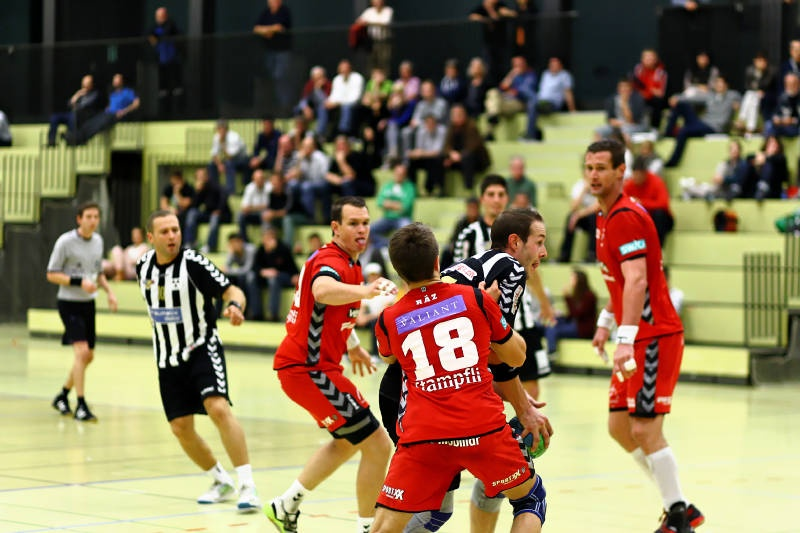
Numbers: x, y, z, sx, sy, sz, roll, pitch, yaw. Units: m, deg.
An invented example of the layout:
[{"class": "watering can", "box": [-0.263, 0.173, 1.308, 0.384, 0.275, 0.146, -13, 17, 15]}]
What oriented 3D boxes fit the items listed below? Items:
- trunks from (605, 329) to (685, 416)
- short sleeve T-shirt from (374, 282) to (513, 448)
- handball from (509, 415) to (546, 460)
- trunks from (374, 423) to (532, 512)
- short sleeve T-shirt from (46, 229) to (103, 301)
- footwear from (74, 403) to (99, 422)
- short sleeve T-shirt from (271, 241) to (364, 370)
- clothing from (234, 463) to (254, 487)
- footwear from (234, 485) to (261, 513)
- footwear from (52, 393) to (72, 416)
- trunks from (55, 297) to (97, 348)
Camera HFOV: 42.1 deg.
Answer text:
[{"class": "trunks", "box": [2.550, 1.156, 10.902, 0.534, 0.866, 1.008, 4, -10, -13]}, {"class": "short sleeve T-shirt", "box": [0.433, 0.917, 9.592, 1.203, 1.514, 0.730, -8, -16, 3]}, {"class": "handball", "box": [1.183, 1.621, 9.755, 0.367, 0.278, 0.366, 34, -1, -13]}, {"class": "trunks", "box": [0.534, 1.708, 9.509, 1.521, 0.921, 0.563, -10, 4, 0]}, {"class": "short sleeve T-shirt", "box": [-4.548, -0.008, 14.556, 0.715, 0.985, 0.429, -1, 2, -20]}, {"class": "footwear", "box": [-4.322, 1.977, 14.250, 0.329, 0.237, 0.301, -1, 2, -11]}, {"class": "short sleeve T-shirt", "box": [-0.769, 0.456, 10.771, 0.608, 1.433, 1.048, 12, 2, 9]}, {"class": "clothing", "box": [-1.697, 2.246, 11.323, 0.175, 0.233, 0.271, -1, 2, -9]}, {"class": "footwear", "box": [-1.623, 2.485, 11.190, 0.256, 0.280, 0.229, 0, 2, -2]}, {"class": "footwear", "box": [-4.752, 1.933, 14.589, 0.479, 0.385, 0.163, 2, 3, 45]}, {"class": "trunks", "box": [-4.498, 0.802, 14.471, 0.475, 0.670, 0.337, -1, 2, -23]}]
